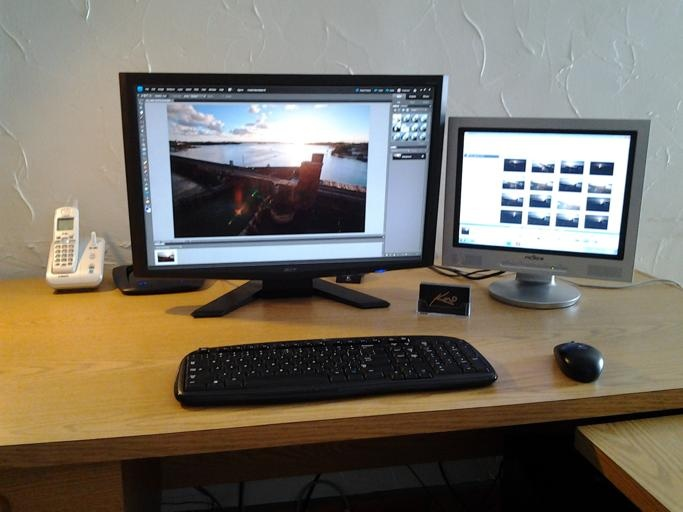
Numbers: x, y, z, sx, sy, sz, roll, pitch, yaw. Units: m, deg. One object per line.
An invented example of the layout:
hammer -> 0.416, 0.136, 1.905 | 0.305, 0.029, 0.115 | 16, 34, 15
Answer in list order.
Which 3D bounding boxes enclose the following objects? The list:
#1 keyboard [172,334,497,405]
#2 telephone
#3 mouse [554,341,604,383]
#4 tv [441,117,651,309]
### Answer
keyboard -> -0.017, 0.263, 1.272 | 0.700, 0.055, 0.262 | -2, 15, -11
telephone -> -0.786, -0.035, 1.646 | 0.146, 0.233, 0.129 | 1, 4, -20
mouse -> 0.534, 0.238, 1.237 | 0.063, 0.035, 0.107 | -7, 15, 0
tv -> 0.563, -0.130, 1.560 | 0.512, 0.505, 0.269 | 3, 8, 11
